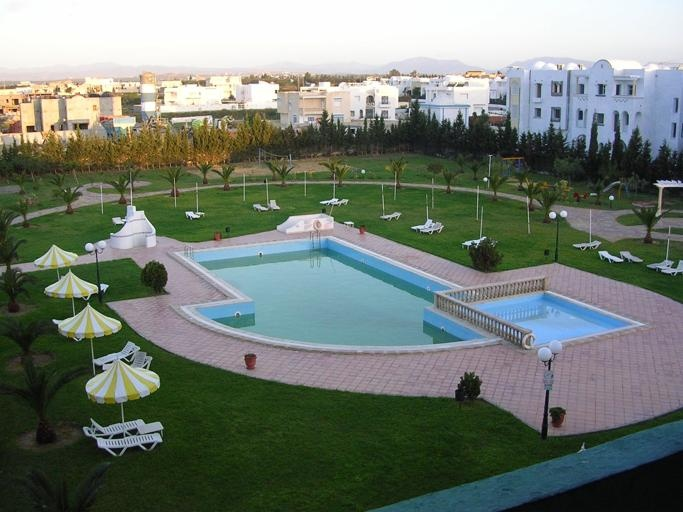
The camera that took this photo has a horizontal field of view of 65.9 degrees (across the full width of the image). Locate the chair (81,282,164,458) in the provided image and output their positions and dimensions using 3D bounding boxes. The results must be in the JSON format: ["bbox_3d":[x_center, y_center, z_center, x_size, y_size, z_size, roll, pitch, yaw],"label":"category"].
[{"bbox_3d":[-6.243,4.195,14.943,2.259,2.654,1.698,-6,-2,45],"label":"chair"}]

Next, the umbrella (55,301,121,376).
[{"bbox_3d":[-9.082,3.005,19.005,1.946,2.659,2.034,0,19,-18],"label":"umbrella"}]

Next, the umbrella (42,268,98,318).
[{"bbox_3d":[-11.557,1.636,22.591,1.953,1.924,2.038,17,20,40],"label":"umbrella"}]
